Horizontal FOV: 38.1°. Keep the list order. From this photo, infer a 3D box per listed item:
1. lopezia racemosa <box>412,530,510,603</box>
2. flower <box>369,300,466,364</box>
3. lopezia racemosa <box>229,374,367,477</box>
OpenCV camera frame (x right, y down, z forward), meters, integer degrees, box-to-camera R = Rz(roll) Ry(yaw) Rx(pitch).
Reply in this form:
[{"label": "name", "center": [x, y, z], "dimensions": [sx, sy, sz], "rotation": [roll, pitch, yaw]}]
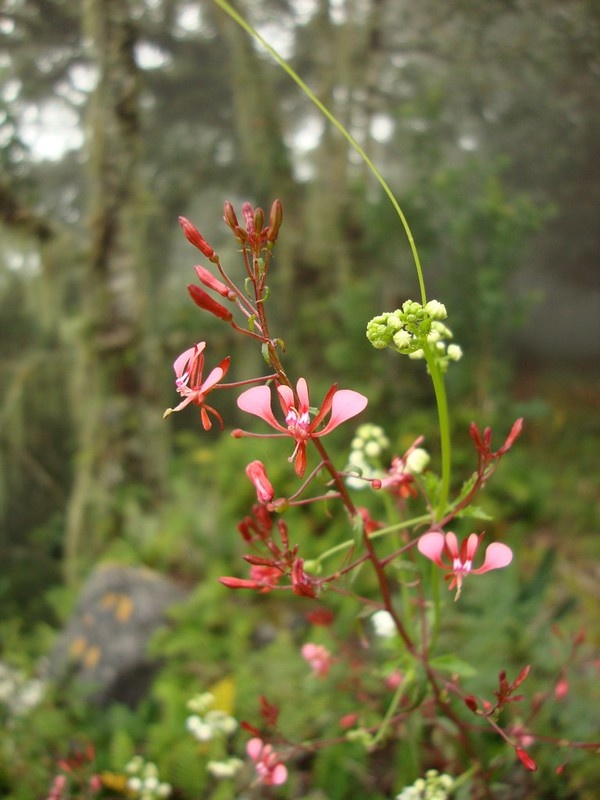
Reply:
[{"label": "lopezia racemosa", "center": [0.323, 0.321, 1.683], "dimensions": [0.205, 0.062, 0.157], "rotation": [3, 28, -14]}, {"label": "flower", "center": [0.264, -0.156, 1.815], "dimensions": [0.149, 0.203, 0.078], "rotation": [-18, 63, 41]}, {"label": "lopezia racemosa", "center": [0.012, 0.038, 1.766], "dimensions": [0.256, 0.136, 0.221], "rotation": [3, 25, 8]}]
